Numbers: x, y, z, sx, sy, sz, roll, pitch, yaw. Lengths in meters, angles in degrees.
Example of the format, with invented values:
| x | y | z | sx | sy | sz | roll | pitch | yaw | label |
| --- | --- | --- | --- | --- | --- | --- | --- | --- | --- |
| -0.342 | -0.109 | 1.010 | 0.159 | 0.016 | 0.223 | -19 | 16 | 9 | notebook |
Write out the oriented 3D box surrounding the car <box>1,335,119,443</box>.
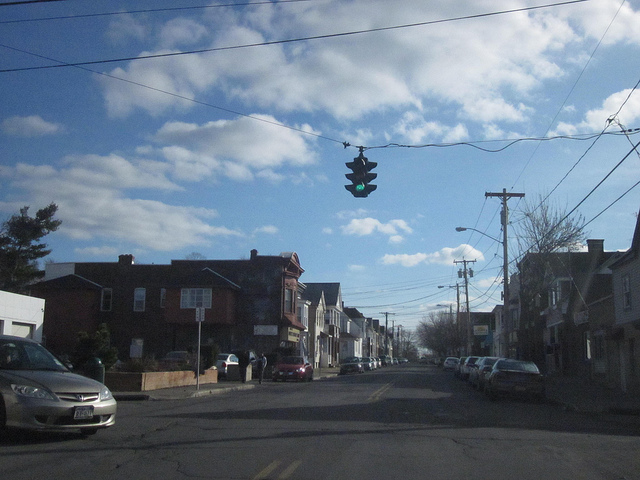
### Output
| x | y | z | sx | sy | sz | roll | pitch | yaw | label |
| --- | --- | --- | --- | --- | --- | --- | --- | --- | --- |
| -5.504 | 3.009 | 12.922 | 2.699 | 1.307 | 1.600 | -16 | -19 | 41 | car |

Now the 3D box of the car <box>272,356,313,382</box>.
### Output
| x | y | z | sx | sy | sz | roll | pitch | yaw | label |
| --- | --- | --- | --- | --- | --- | --- | --- | --- | --- |
| -1.645 | 7.910 | 38.163 | 2.471 | 1.465 | 1.695 | 5 | -8 | -22 | car |

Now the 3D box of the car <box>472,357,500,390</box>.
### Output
| x | y | z | sx | sy | sz | roll | pitch | yaw | label |
| --- | --- | --- | --- | --- | --- | --- | --- | --- | --- |
| 7.949 | 6.332 | 30.087 | 0.919 | 1.091 | 2.131 | -1 | -9 | 4 | car |

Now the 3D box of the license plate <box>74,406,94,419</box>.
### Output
| x | y | z | sx | sy | sz | roll | pitch | yaw | label |
| --- | --- | --- | --- | --- | --- | --- | --- | --- | --- |
| -4.853 | 3.548 | 12.843 | 0.036 | 0.187 | 0.265 | -7 | -11 | 42 | license plate |

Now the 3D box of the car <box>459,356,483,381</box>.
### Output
| x | y | z | sx | sy | sz | roll | pitch | yaw | label |
| --- | --- | --- | --- | --- | --- | --- | --- | --- | --- |
| 9.638 | 8.225 | 39.982 | 1.293 | 1.441 | 2.976 | -1 | -8 | 7 | car |

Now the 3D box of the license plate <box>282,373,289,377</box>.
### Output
| x | y | z | sx | sy | sz | roll | pitch | yaw | label |
| --- | --- | --- | --- | --- | --- | --- | --- | --- | --- |
| -2.029 | 8.104 | 37.462 | 0.388 | 0.235 | 0.053 | 0 | -5 | 11 | license plate |

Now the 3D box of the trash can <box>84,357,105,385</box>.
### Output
| x | y | z | sx | sy | sz | roll | pitch | yaw | label |
| --- | --- | --- | --- | --- | --- | --- | --- | --- | --- |
| -6.877 | 4.003 | 19.193 | 0.553 | 0.750 | 0.461 | 5 | -7 | -27 | trash can |

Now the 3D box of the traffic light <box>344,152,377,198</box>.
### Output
| x | y | z | sx | sy | sz | roll | pitch | yaw | label |
| --- | --- | --- | --- | --- | --- | --- | --- | --- | --- |
| 1.209 | -1.895 | 18.628 | 0.955 | 0.126 | 1.492 | 0 | -56 | 2 | traffic light |
